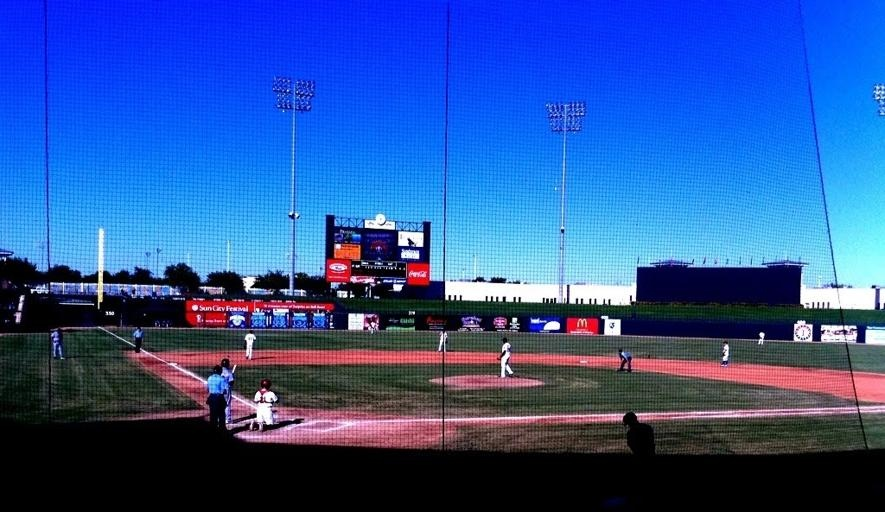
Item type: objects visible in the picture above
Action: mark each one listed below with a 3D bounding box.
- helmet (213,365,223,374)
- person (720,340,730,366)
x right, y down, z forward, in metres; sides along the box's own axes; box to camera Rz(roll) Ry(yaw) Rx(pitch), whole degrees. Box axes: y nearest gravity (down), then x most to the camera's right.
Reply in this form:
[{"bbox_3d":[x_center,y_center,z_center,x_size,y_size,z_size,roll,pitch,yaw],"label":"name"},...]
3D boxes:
[{"bbox_3d":[-7.771,3.953,30.478,0.327,0.304,0.325,2,7,2],"label":"helmet"},{"bbox_3d":[14.158,4.935,44.406,0.353,1.256,1.527,3,5,16],"label":"person"}]
